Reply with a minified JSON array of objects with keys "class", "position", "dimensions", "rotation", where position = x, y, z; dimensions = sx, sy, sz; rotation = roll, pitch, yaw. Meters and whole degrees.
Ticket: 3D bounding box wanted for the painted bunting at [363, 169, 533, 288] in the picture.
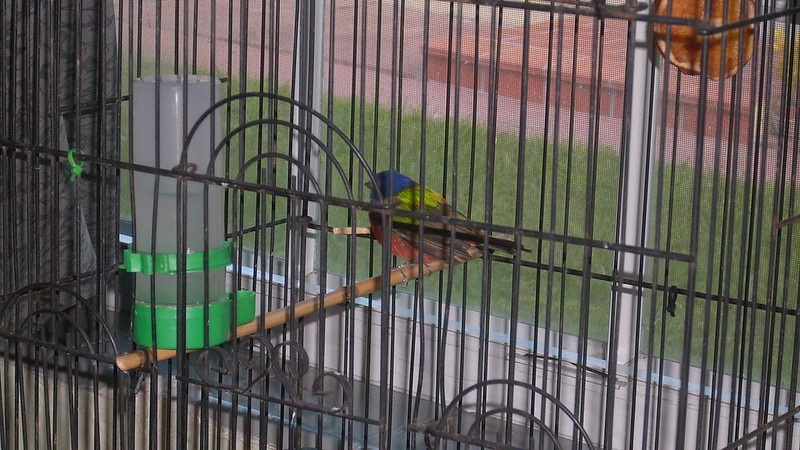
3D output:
[{"class":"painted bunting","position":[0.131,-0.013,5.185],"dimensions":[0.445,0.194,0.232],"rotation":[10,-69,33]}]
